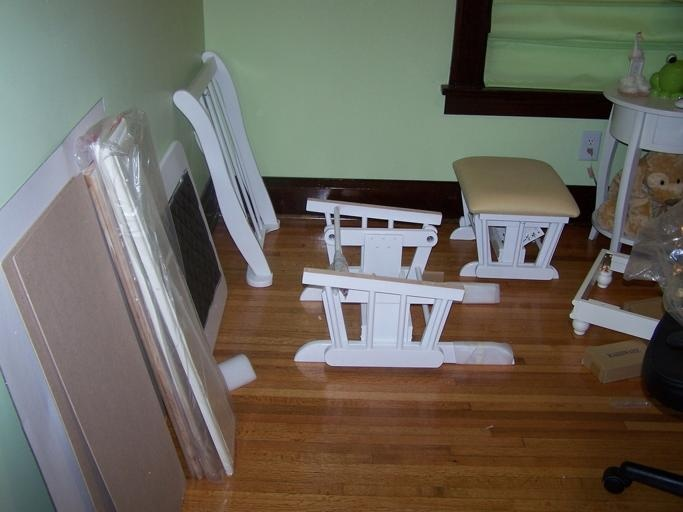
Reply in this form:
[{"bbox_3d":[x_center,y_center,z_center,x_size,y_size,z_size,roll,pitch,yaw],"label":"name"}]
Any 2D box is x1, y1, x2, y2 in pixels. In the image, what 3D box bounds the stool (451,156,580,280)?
[{"bbox_3d":[0.880,-0.221,2.855,0.540,0.451,0.568,8,34,14],"label":"stool"}]
